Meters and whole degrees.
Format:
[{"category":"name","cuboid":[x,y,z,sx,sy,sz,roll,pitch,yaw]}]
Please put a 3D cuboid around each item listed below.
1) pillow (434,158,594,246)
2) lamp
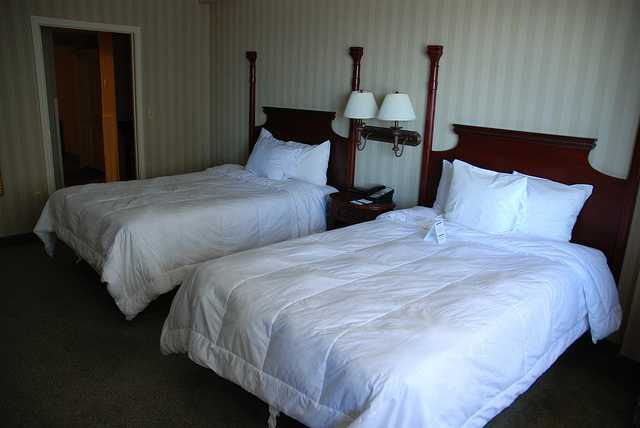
[{"category":"pillow","cuboid":[1.733,-0.106,3.740,1.154,0.503,0.542,14,22,32]},{"category":"lamp","cuboid":[0.725,-1.020,4.603,0.304,0.573,0.747,-14,20,-43]}]
